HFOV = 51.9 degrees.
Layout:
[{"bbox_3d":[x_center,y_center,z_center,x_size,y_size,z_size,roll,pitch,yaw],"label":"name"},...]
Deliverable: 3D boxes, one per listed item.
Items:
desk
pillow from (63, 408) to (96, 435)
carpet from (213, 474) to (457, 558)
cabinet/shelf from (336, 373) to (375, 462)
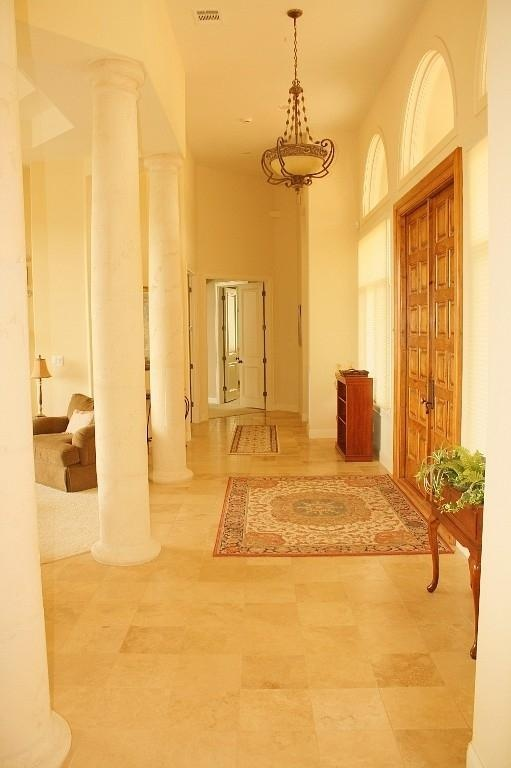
[{"bbox_3d":[1.140,0.929,2.774,0.266,0.702,0.735,1,1,2],"label":"desk"},{"bbox_3d":[-2.148,0.461,6.468,0.346,0.373,0.106,-4,-27,45],"label":"pillow"},{"bbox_3d":[0.621,1.237,5.200,1.920,0.163,2.422,-1,0,2],"label":"carpet"},{"bbox_3d":[1.438,0.485,7.471,0.323,1.088,1.075,1,5,5],"label":"cabinet/shelf"}]
